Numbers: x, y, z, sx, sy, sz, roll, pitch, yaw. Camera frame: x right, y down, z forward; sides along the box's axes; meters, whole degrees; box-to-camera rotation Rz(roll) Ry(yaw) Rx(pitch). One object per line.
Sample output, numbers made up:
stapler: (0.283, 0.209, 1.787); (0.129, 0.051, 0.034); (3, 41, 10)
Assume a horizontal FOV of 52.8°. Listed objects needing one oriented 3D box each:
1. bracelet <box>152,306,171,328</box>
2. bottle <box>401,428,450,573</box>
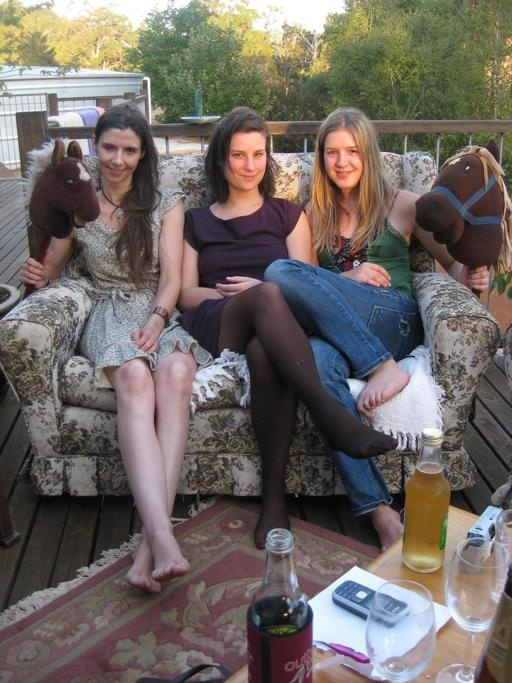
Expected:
bracelet: (-0.349, -0.097, 1.994); (0.090, 0.080, 0.055); (6, 48, 14)
bottle: (0.306, 0.268, 0.923); (0.077, 0.240, 0.155); (3, 15, 22)
